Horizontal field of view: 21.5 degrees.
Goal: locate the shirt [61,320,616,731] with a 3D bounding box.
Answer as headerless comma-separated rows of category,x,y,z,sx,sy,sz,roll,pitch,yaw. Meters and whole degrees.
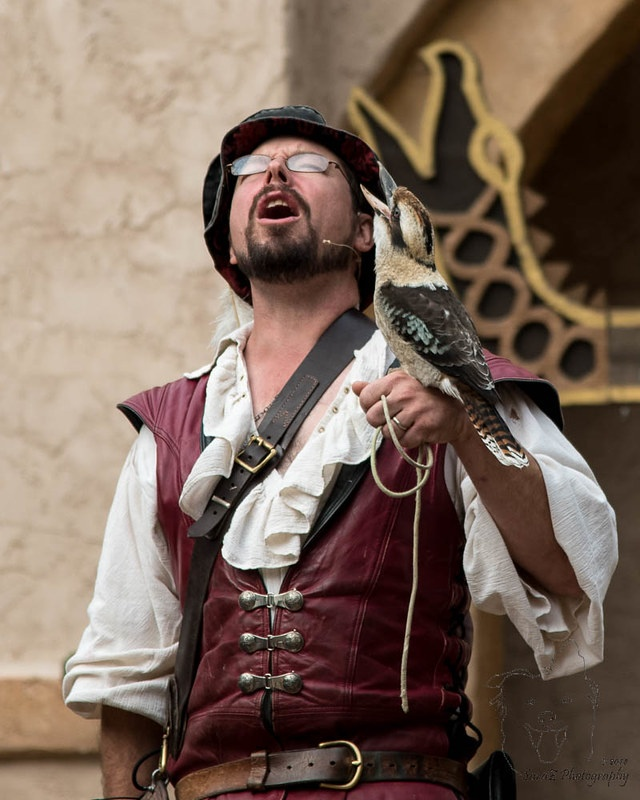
shirt,-0.018,0.330,4.483,1.511,0.953,0.574,-6,-21,18

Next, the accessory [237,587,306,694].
accessory,-0.118,0.604,4.205,0.187,0.268,0.033,-12,-17,20

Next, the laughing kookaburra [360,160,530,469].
laughing kookaburra,0.298,-0.186,4.059,0.301,0.737,0.145,-5,-16,-8

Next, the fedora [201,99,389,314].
fedora,-0.091,-0.609,4.999,0.565,0.603,0.201,-2,24,8
